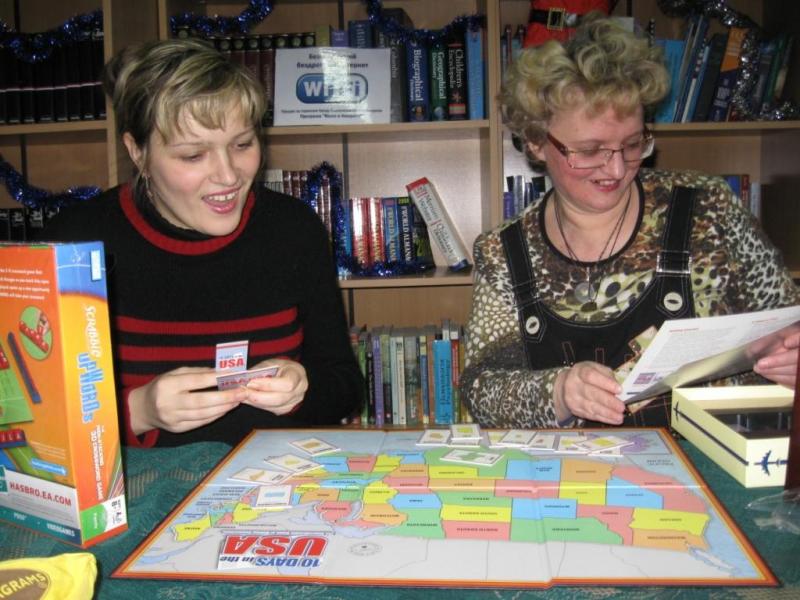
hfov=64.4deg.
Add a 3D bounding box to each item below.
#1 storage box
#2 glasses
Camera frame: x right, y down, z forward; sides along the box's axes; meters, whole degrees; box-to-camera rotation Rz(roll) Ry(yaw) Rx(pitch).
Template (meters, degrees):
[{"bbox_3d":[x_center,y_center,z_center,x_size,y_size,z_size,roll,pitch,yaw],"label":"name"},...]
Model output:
[{"bbox_3d":[-0.261,-0.837,2.499,0.588,0.360,0.302,0,7,4],"label":"storage box"},{"bbox_3d":[0.539,-0.409,1.720,0.285,0.096,0.165,1,17,11],"label":"glasses"}]
